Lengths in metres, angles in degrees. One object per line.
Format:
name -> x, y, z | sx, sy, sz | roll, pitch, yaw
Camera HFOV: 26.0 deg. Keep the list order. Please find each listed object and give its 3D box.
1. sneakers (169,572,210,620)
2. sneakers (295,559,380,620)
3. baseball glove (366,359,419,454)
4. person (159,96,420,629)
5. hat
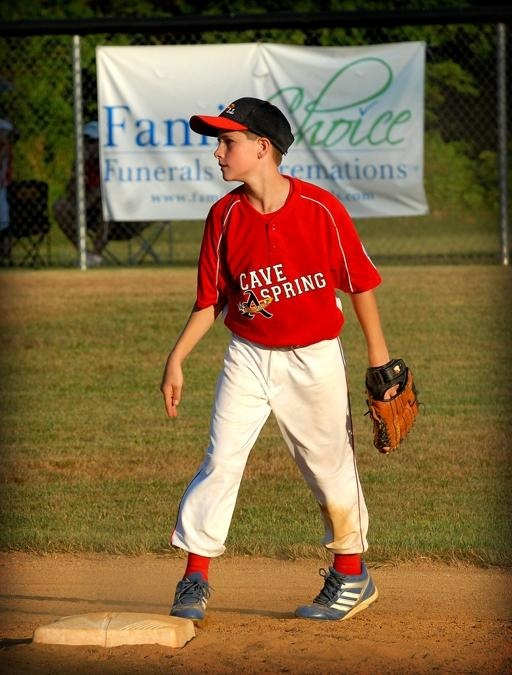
sneakers -> -0.255, 1.007, 4.257 | 0.091, 0.107, 0.238 | 4, -1, -1
sneakers -> 0.346, 1.006, 4.512 | 0.399, 0.195, 0.142 | -22, 19, -32
baseball glove -> 0.544, 0.253, 4.412 | 0.210, 0.365, 0.151 | -9, 8, -33
person -> 0.130, 0.109, 4.316 | 0.983, 2.053, 0.414 | -2, 11, -8
hat -> -0.056, -0.827, 4.267 | 0.344, 0.177, 0.212 | 21, 4, -10
